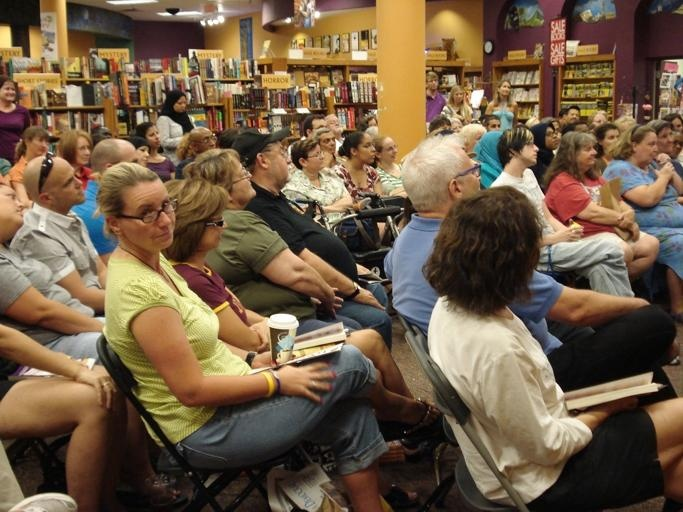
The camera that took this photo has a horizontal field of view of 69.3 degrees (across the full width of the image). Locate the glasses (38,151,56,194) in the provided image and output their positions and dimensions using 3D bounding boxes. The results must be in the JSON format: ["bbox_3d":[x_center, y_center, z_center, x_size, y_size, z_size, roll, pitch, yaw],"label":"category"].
[{"bbox_3d":[-1.586,-0.456,2.660,0.042,0.174,0.127,11,3,-32],"label":"glasses"}]

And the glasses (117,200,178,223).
[{"bbox_3d":[-0.666,-0.148,1.697,0.179,0.071,0.064,-7,13,-35],"label":"glasses"}]

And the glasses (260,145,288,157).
[{"bbox_3d":[-0.409,-0.624,2.958,0.092,0.025,0.089,-18,10,7],"label":"glasses"}]

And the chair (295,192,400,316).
[{"bbox_3d":[0.019,0.044,3.149,0.731,0.688,0.450,11,24,42],"label":"chair"}]

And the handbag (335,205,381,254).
[{"bbox_3d":[0.157,-0.220,4.523,0.453,0.431,0.320,-3,5,-41],"label":"handbag"}]

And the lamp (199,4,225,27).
[{"bbox_3d":[-5.195,-9.664,20.013,0.843,0.703,3.006,-2,11,-14],"label":"lamp"}]

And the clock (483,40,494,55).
[{"bbox_3d":[4.669,-6.566,15.627,0.098,0.470,0.427,-4,12,-23],"label":"clock"}]

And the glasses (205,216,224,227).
[{"bbox_3d":[-0.532,-0.143,2.102,0.022,0.049,0.097,8,13,34],"label":"glasses"}]
